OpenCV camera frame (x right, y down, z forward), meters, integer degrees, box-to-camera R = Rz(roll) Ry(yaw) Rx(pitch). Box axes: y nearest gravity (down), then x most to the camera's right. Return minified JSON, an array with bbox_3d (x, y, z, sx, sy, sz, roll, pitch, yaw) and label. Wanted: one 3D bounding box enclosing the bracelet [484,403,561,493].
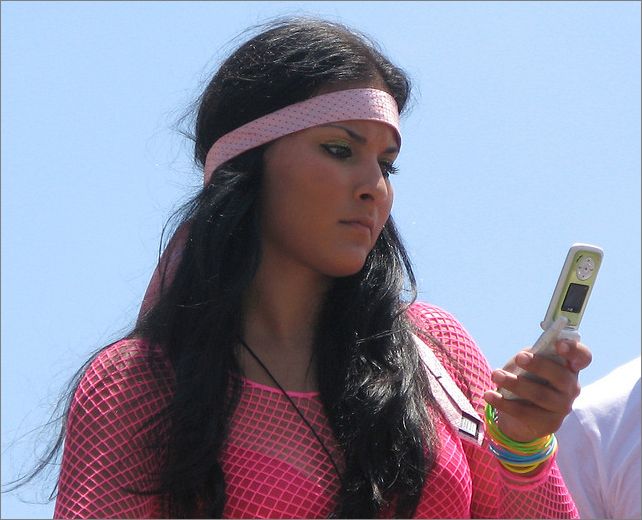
[{"bbox_3d":[0.799,0.796,3.692,0.284,0.355,0.191,13,-42,-24],"label":"bracelet"}]
